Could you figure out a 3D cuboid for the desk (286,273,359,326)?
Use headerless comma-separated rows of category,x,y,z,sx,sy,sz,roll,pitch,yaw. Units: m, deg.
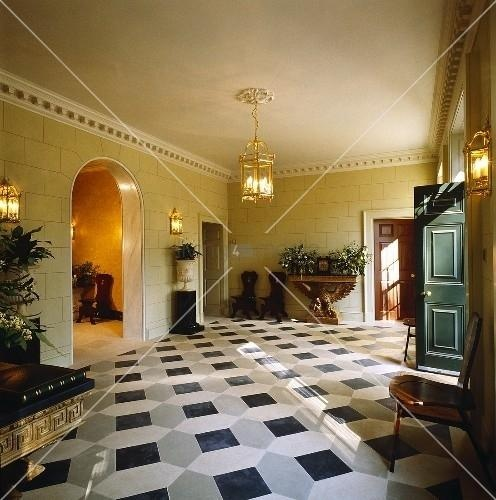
desk,1.570,1.018,8.022,1.386,0.954,0.782,0,-5,12

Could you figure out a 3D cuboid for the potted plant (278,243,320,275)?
potted plant,1.127,0.230,8.293,0.676,0.472,0.673,2,-6,10

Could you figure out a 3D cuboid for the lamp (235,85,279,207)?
lamp,0.102,-1.205,4.529,0.460,1.200,0.460,6,14,42

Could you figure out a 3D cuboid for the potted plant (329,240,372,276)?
potted plant,2.051,0.203,7.862,0.804,0.674,0.749,0,1,17

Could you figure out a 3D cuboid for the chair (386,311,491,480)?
chair,1.403,1.064,3.468,0.971,1.469,1.103,1,-3,16

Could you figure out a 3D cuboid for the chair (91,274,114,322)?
chair,-3.186,1.048,8.531,0.376,0.753,0.319,-1,0,-21

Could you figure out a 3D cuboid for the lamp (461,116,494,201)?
lamp,1.644,-0.650,2.773,0.170,0.522,0.217,0,0,31

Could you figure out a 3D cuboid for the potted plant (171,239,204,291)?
potted plant,-1.170,0.334,7.547,0.455,0.966,0.922,0,1,7
